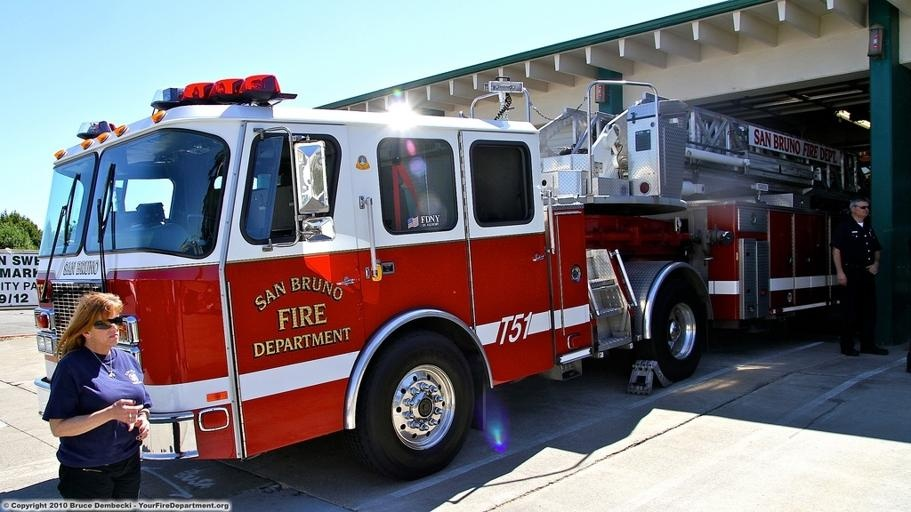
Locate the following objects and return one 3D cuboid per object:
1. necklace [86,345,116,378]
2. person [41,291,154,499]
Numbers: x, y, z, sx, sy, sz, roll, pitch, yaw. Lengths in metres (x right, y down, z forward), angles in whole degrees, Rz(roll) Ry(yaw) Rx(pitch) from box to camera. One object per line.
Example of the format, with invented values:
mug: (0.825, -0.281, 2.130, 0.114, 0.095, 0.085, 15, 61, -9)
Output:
necklace: (-3.321, 1.003, 6.214, 0.072, 0.269, 0.211, -40, -8, 21)
person: (-3.378, 1.342, 6.184, 0.879, 1.477, 0.480, -3, 2, -11)
